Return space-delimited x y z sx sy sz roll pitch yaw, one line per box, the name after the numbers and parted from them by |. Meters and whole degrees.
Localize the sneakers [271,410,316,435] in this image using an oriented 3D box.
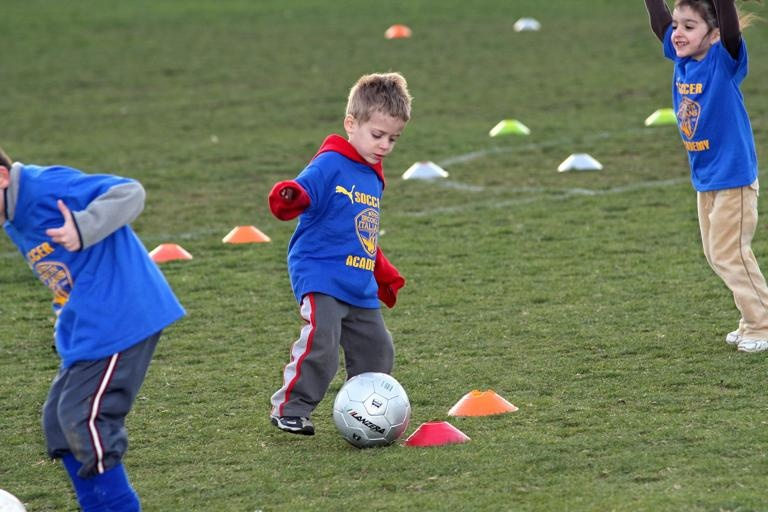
-0.735 1.359 13.208 0.331 0.129 0.155 1 -1 36 | sneakers

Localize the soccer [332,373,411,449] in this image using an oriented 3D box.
-0.080 1.272 13.309 0.638 0.518 0.519 10 21 -10 | soccer
